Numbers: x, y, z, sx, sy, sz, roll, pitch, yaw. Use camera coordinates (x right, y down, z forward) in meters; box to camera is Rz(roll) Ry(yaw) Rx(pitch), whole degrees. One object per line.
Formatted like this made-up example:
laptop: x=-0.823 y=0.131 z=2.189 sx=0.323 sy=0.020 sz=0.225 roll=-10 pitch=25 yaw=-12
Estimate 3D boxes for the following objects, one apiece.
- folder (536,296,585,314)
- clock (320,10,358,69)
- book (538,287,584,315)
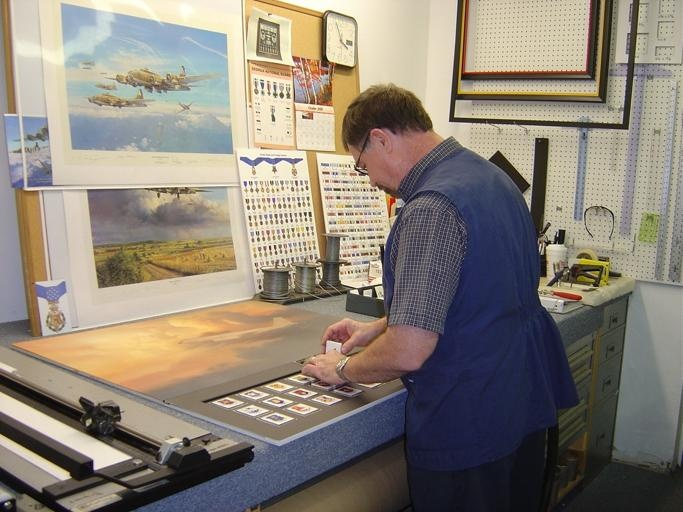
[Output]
folder: x=0.965 y=0.214 z=2.110 sx=0.149 sy=0.038 sz=0.141 roll=-8 pitch=14 yaw=-36
clock: x=-0.020 y=-1.155 z=2.575 sx=0.059 sy=0.270 sz=0.278 roll=12 pitch=15 yaw=39
book: x=0.994 y=0.197 z=2.157 sx=0.158 sy=0.037 sz=0.160 roll=6 pitch=9 yaw=38
